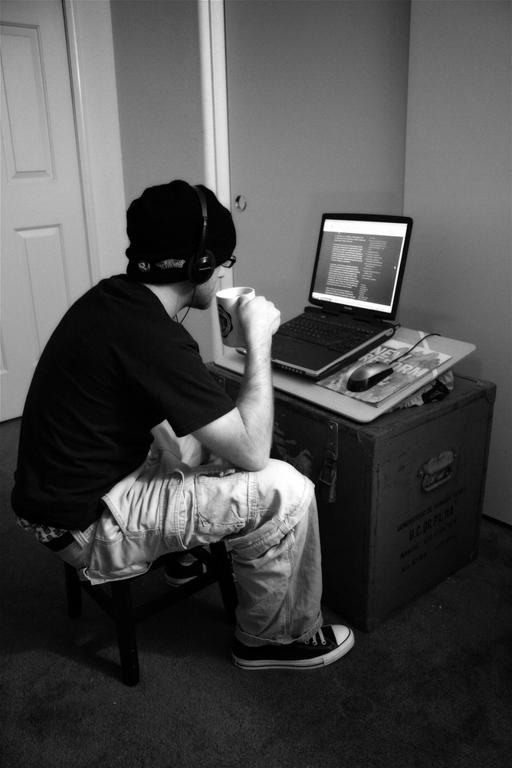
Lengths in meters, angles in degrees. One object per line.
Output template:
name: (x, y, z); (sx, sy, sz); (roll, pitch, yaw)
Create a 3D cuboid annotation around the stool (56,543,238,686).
stool: (-0.240, 0.424, 1.330); (0.288, 0.292, 0.288); (-19, 30, -39)

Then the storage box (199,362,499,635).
storage box: (0.205, 0.257, 1.508); (0.504, 0.536, 0.695); (-12, 22, -34)

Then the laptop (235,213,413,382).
laptop: (0.172, -0.228, 1.409); (0.252, 0.266, 0.369); (18, 36, 41)

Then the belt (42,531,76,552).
belt: (-0.347, 0.279, 1.054); (0.041, 0.033, 0.045); (-10, 27, 8)

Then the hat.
hat: (-0.134, -0.262, 1.042); (0.203, 0.183, 0.194); (-15, 20, -27)

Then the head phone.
head phone: (-0.144, -0.265, 1.042); (0.168, 0.157, 0.123); (-32, 37, -28)

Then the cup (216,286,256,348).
cup: (-0.035, -0.125, 1.196); (0.070, 0.106, 0.114); (-9, 22, -19)

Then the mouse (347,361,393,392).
mouse: (0.230, -0.016, 1.227); (0.085, 0.031, 0.049); (-38, 38, -25)

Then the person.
person: (-0.089, 0.079, 1.185); (0.533, 0.885, 0.627); (10, 18, 30)
